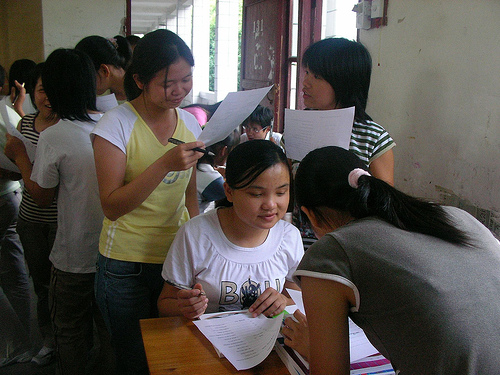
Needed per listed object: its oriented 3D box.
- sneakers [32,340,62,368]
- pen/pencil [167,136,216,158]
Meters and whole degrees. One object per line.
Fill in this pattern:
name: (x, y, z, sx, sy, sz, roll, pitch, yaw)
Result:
sneakers: (-1.166, 0.950, 2.326, 0.155, 0.162, 0.073, 3, -2, -27)
pen/pencil: (-0.224, -0.152, 1.481, 0.261, 0.030, 0.029, 24, -11, 46)
